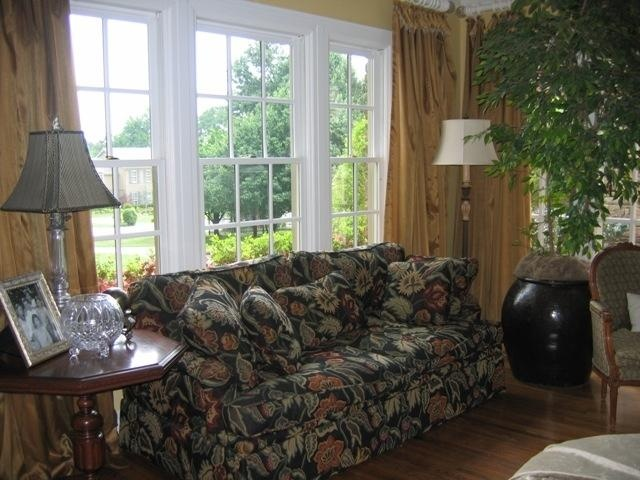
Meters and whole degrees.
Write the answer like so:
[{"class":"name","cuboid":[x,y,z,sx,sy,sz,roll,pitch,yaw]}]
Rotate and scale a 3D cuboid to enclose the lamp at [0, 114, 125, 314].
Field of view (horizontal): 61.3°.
[{"class":"lamp","cuboid":[-1.234,-0.132,2.575,0.464,0.918,0.301,-1,7,17]}]
